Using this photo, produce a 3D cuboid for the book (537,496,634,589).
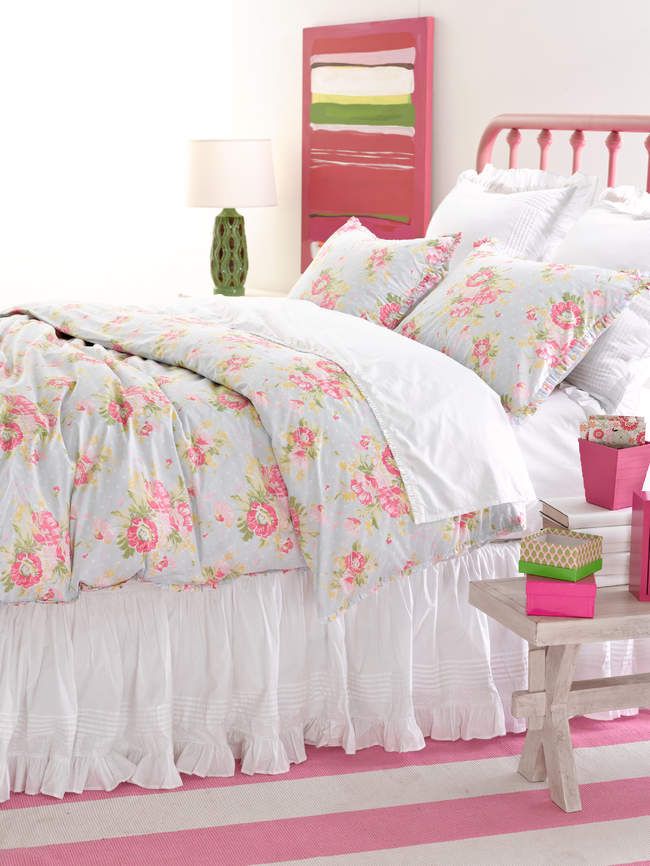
[{"bbox_3d":[0.452,0.188,1.433,0.140,0.080,0.136,-3,7,-33],"label":"book"}]
